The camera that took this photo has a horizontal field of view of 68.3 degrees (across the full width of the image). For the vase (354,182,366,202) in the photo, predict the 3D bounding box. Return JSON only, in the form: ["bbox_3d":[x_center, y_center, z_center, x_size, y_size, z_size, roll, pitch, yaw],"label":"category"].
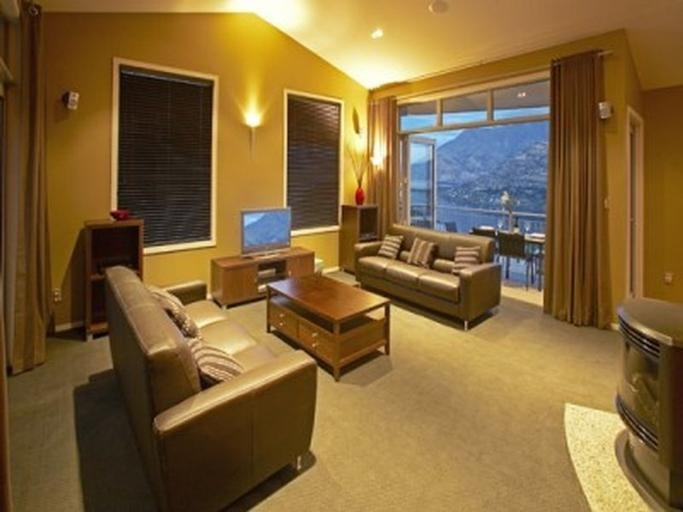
[{"bbox_3d":[0.320,-1.055,8.419,0.159,0.337,0.485,1,10,2],"label":"vase"}]

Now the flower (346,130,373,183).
[{"bbox_3d":[0.294,-1.678,8.478,0.506,0.890,0.166,-6,11,-35],"label":"flower"}]

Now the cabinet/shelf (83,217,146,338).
[{"bbox_3d":[-2.640,0.248,5.820,0.619,1.339,0.341,-6,19,-41],"label":"cabinet/shelf"}]
